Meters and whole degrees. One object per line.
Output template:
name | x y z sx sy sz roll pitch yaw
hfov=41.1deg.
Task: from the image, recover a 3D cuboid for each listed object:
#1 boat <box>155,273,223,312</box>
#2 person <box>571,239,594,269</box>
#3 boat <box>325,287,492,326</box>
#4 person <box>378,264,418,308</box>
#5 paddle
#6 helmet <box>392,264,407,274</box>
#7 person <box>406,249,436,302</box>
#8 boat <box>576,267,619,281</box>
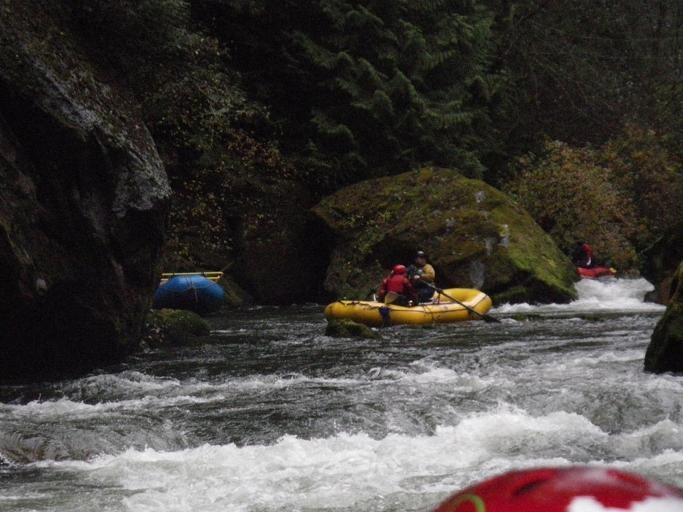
boat | -4.117 0.882 24.637 1.762 0.923 2.306 -4 -4 -12
person | 8.108 -0.153 30.580 0.855 1.161 0.625 -2 -7 11
boat | 1.731 1.299 21.329 2.349 0.529 1.559 -3 -1 -18
person | 1.355 0.795 21.817 0.865 1.086 0.789 -1 -7 22
paddle | 2.716 0.958 22.096 1.015 0.284 1.795 30 20 30
helmet | 1.398 0.323 21.769 0.265 0.155 0.269 -1 -5 6
person | 2.058 0.527 23.200 0.779 0.946 1.590 -8 27 7
boat | 7.953 0.518 28.543 1.231 0.256 0.701 8 9 -36
